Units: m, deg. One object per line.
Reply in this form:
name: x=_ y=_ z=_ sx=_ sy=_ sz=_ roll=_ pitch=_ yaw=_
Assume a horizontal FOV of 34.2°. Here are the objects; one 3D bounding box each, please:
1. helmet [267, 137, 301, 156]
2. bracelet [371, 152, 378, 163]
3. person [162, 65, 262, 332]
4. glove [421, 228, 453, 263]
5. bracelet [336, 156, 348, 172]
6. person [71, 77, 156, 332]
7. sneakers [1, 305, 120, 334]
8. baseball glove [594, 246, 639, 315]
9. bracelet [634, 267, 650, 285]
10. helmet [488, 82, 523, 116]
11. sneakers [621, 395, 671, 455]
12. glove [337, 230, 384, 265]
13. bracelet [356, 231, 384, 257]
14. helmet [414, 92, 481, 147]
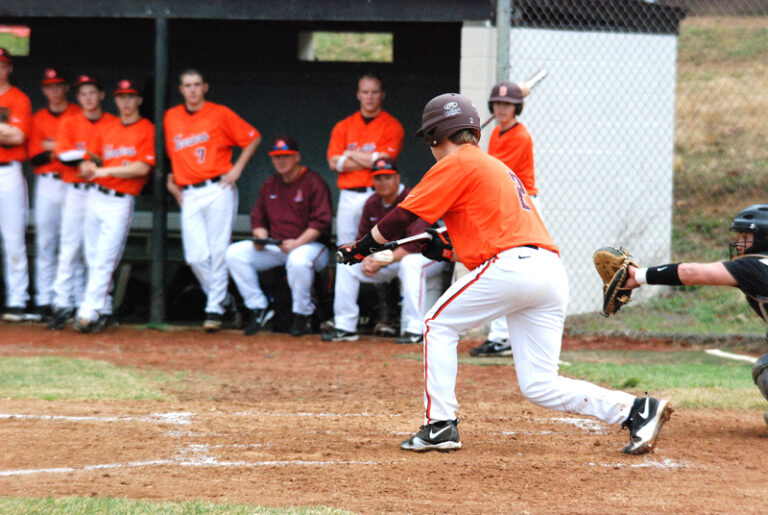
helmet: x=-0.947 y=-1.048 z=11.886 sx=0.241 sy=0.183 sz=0.251 roll=1 pitch=0 yaw=-3
bracelet: x=-0.091 y=-0.952 z=11.822 sx=0.098 sy=0.075 sz=0.087 roll=-1 pitch=3 yaw=-2
person: x=-1.673 y=-0.536 z=11.922 sx=0.871 sy=2.421 sz=0.304 roll=2 pitch=0 yaw=-9
glove: x=0.414 y=-0.097 z=9.247 sx=0.273 sy=0.096 sz=0.188 roll=32 pitch=-27 yaw=15
bracelet: x=-0.391 y=-0.895 z=11.963 sx=0.152 sy=0.120 sz=0.132 roll=3 pitch=40 yaw=2
person: x=-2.496 y=-0.478 z=11.689 sx=0.654 sy=2.295 sz=0.386 roll=2 pitch=0 yaw=-8
sneakers: x=-3.047 y=0.579 z=11.721 sx=0.533 sy=0.189 sz=0.152 roll=17 pitch=-4 yaw=-16
baseball glove: x=1.674 y=0.168 z=9.388 sx=0.203 sy=0.448 sz=0.382 roll=24 pitch=7 yaw=35
bracelet: x=1.913 y=0.139 z=9.285 sx=0.114 sy=0.100 sz=0.115 roll=2 pitch=11 yaw=-4
helmet: x=1.045 y=-1.378 z=10.828 sx=0.266 sy=0.152 sz=0.329 roll=4 pitch=12 yaw=16
sneakers: x=1.876 y=1.185 z=9.099 sx=0.244 sy=0.441 sz=0.290 roll=33 pitch=-13 yaw=-9
glove: x=-0.160 y=-0.071 z=9.179 sx=0.327 sy=0.198 sz=0.094 roll=-31 pitch=-7 yaw=4
bracelet: x=-0.117 y=-0.098 z=9.108 sx=0.114 sy=0.092 sz=0.251 roll=-8 pitch=-4 yaw=-25
helmet: x=0.393 y=-1.008 z=9.231 sx=0.461 sy=0.300 sz=0.341 roll=-15 pitch=-10 yaw=42
